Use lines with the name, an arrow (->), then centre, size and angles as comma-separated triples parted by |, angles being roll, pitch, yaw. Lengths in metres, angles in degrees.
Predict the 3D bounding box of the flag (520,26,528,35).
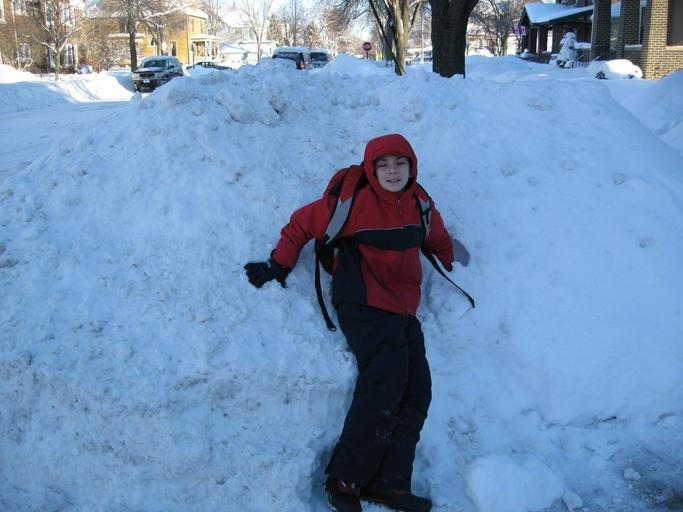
flag -> 11.585, -14.268, 36.582 | 0.370, 0.457, 2.416 | 5, 23, 16
